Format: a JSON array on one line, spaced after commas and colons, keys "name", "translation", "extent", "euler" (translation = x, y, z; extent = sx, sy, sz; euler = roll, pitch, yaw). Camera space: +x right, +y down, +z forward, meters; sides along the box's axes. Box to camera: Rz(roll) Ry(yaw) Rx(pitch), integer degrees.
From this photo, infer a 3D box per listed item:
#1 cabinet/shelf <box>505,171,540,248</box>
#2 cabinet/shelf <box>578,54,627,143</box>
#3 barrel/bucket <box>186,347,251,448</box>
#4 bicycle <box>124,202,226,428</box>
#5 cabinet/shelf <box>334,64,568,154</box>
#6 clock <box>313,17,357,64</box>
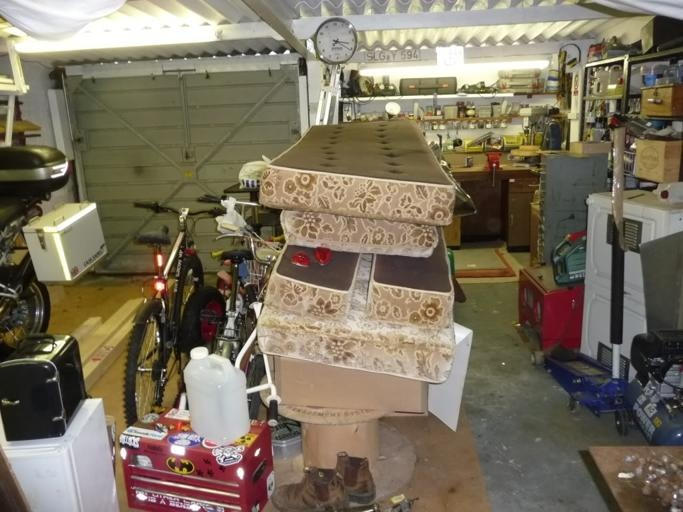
[{"name": "cabinet/shelf", "translation": [2.920, -0.720, 8.437], "extent": [0.443, 1.322, 0.230], "euler": [-2, 13, 6]}, {"name": "cabinet/shelf", "translation": [3.561, -2.144, 7.165], "extent": [0.275, 1.094, 1.504], "euler": [0, 14, 13]}, {"name": "barrel/bucket", "translation": [-0.658, 0.743, 2.745], "extent": [0.311, 0.592, 0.179], "euler": [-5, 13, -8]}, {"name": "bicycle", "translation": [-1.378, 0.430, 4.510], "extent": [0.777, 1.107, 1.848], "euler": [-2, 23, 3]}, {"name": "cabinet/shelf", "translation": [1.865, -2.730, 9.494], "extent": [3.532, 1.576, 1.202], "euler": [0, 13, 13]}, {"name": "clock", "translation": [-0.061, -2.117, 5.091], "extent": [0.403, 0.484, 0.345], "euler": [-4, 13, -5]}]
